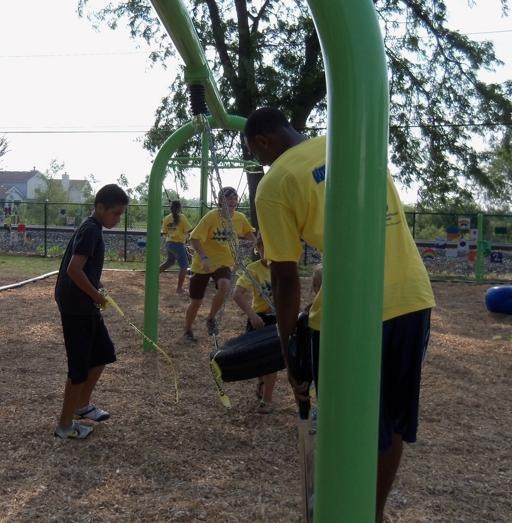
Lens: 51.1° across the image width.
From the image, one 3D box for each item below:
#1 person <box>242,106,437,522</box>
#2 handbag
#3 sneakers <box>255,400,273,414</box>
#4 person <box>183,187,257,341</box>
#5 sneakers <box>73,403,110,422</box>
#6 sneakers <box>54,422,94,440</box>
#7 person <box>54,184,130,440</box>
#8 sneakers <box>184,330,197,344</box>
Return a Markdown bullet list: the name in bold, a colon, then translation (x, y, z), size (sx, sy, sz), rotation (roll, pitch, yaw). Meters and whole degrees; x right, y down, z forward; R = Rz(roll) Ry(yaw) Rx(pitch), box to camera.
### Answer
- **person**: translation (0.328, 0.260, 2.048), size (0.767, 1.752, 0.569), rotation (2, 3, -3)
- **handbag**: translation (-0.028, 0.506, 2.608), size (0.322, 0.173, 0.254), rotation (-27, 7, 4)
- **sneakers**: translation (0.064, 1.075, 3.949), size (0.062, 0.089, 0.111), rotation (-6, -22, 43)
- **person**: translation (-0.359, 0.132, 5.770), size (0.868, 1.882, 0.746), rotation (8, 10, 11)
- **sneakers**: translation (-1.083, 1.023, 3.631), size (0.241, 0.137, 0.100), rotation (5, 0, -5)
- **sneakers**: translation (-1.138, 1.057, 3.368), size (0.186, 0.106, 0.099), rotation (3, 12, -21)
- **person**: translation (-1.028, 0.316, 3.392), size (0.423, 1.599, 0.493), rotation (1, 3, -3)
- **sneakers**: translation (-0.734, 0.858, 6.030), size (0.067, 0.172, 0.213), rotation (-6, -8, -19)
